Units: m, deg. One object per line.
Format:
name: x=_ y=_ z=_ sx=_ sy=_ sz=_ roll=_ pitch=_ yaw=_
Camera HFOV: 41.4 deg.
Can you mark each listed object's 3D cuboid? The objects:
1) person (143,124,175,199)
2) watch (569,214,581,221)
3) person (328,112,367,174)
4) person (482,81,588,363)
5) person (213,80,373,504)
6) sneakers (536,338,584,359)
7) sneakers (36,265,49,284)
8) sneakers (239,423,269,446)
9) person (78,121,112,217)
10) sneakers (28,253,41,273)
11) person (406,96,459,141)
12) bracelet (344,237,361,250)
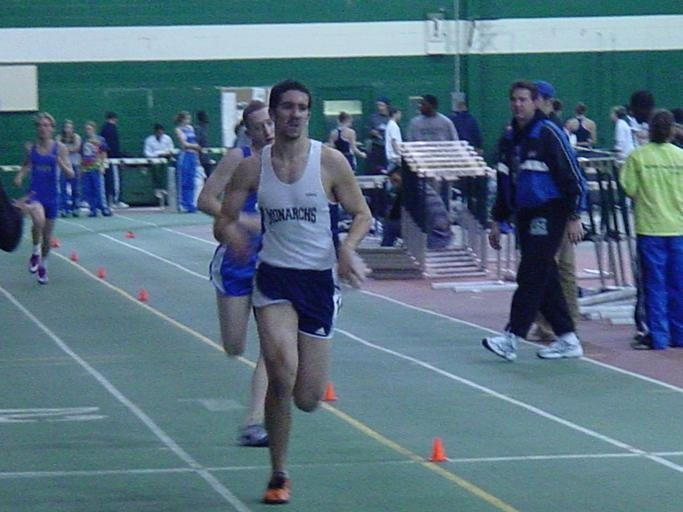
person: x=-4.741 y=-2.395 z=23.513 sx=0.733 sy=2.050 sz=1.027 roll=-2 pitch=10 yaw=-10
watch: x=2.178 y=-0.368 z=8.329 sx=0.122 sy=0.050 sz=0.070 roll=-5 pitch=10 yaw=-29
person: x=0.172 y=-2.226 z=19.955 sx=0.796 sy=1.695 sz=0.681 roll=8 pitch=14 yaw=36
person: x=1.883 y=-0.317 z=8.520 sx=0.875 sy=2.608 sz=0.584 roll=2 pitch=10 yaw=13
person: x=-0.279 y=0.207 z=5.271 sx=0.901 sy=2.426 sz=0.508 roll=0 pitch=10 yaw=1
sneakers: x=2.123 y=0.885 z=8.785 sx=0.528 sy=0.176 sz=0.167 roll=1 pitch=-6 yaw=-2
sneakers: x=-4.258 y=0.249 z=12.833 sx=0.129 sy=0.241 sz=0.274 roll=-3 pitch=9 yaw=-17
sneakers: x=-0.608 y=1.239 z=6.280 sx=0.259 sy=0.205 sz=0.078 roll=-1 pitch=49 yaw=9
person: x=-5.922 y=-2.075 z=21.661 sx=0.689 sy=2.243 sz=1.022 roll=-2 pitch=10 yaw=-14
sneakers: x=-4.569 y=0.103 z=13.442 sx=0.118 sy=0.297 sz=0.134 roll=16 pitch=-44 yaw=-24
person: x=1.485 y=-2.247 z=14.753 sx=0.875 sy=0.748 sz=0.516 roll=3 pitch=10 yaw=19
bracelet: x=0.065 y=-0.075 z=5.199 sx=0.087 sy=0.067 sz=0.070 roll=1 pitch=9 yaw=3
